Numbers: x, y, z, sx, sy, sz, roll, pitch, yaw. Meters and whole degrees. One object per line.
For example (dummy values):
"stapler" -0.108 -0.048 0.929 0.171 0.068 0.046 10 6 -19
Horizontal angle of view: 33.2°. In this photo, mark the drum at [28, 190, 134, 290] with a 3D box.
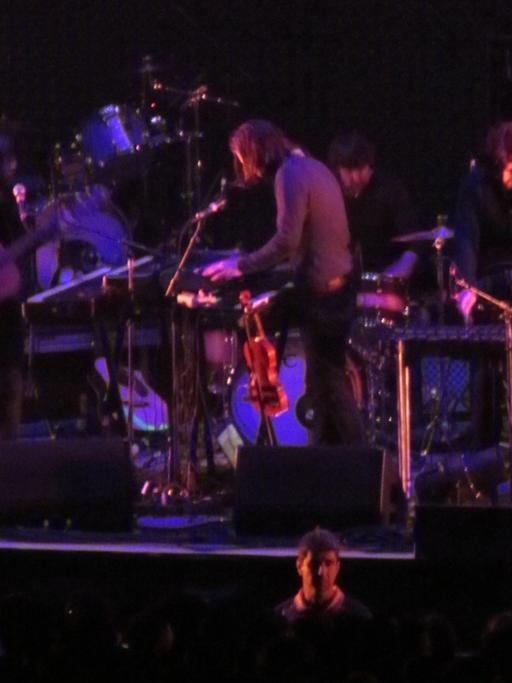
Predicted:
"drum" -1.055 -0.639 5.011 0.343 0.701 0.544 12 -6 29

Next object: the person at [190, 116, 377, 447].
"person" 0.124 -0.216 3.070 0.493 1.162 0.419 -1 4 9

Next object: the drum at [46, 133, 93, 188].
"drum" -1.024 -1.020 4.897 0.164 0.350 0.285 12 21 37
